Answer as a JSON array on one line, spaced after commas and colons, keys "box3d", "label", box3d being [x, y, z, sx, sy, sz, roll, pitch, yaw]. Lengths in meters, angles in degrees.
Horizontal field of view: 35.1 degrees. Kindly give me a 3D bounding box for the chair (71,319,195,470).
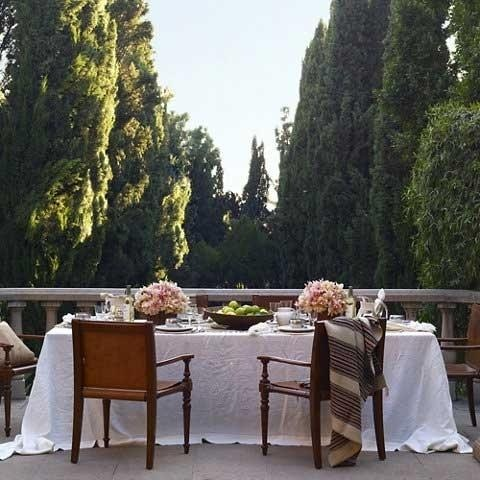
[{"box3d": [-0.884, 0.989, 5.976, 0.733, 1.727, 0.938, 1, 1, 14], "label": "chair"}]
